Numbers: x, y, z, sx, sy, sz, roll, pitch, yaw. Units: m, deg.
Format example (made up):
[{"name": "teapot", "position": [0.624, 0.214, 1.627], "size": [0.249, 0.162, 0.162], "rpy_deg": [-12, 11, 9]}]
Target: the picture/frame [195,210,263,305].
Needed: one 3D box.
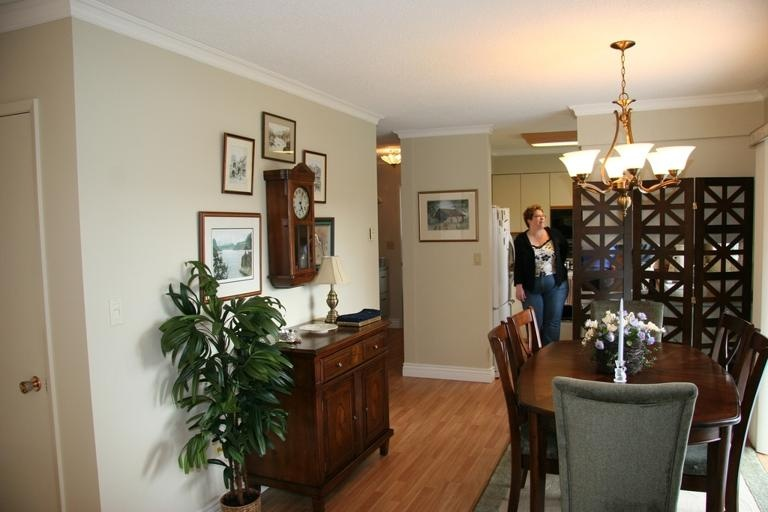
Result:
[{"name": "picture/frame", "position": [-1.182, 0.020, 4.024], "size": [0.081, 0.788, 0.714], "rpy_deg": [-2, -1, 29]}]

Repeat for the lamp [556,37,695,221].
[{"name": "lamp", "position": [1.806, -0.959, 4.042], "size": [0.795, 1.245, 0.933], "rpy_deg": [-2, 4, -31]}]

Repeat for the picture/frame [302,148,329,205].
[{"name": "picture/frame", "position": [-0.633, -0.711, 4.841], "size": [0.027, 0.677, 0.574], "rpy_deg": [-2, 0, 20]}]

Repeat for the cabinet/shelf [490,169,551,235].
[{"name": "cabinet/shelf", "position": [2.205, -0.839, 8.549], "size": [0.942, 0.943, 0.336], "rpy_deg": [1, 12, 35]}]

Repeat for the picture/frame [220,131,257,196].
[{"name": "picture/frame", "position": [-1.135, -0.696, 4.161], "size": [0.036, 0.473, 0.333], "rpy_deg": [4, 11, 33]}]

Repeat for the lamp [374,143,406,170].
[{"name": "lamp", "position": [0.095, -1.490, 7.979], "size": [0.420, 0.228, 0.419], "rpy_deg": [-17, 29, -19]}]

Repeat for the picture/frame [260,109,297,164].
[{"name": "picture/frame", "position": [-0.888, -0.982, 4.542], "size": [0.368, 0.370, 0.014], "rpy_deg": [15, 20, 28]}]

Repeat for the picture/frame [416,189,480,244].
[{"name": "picture/frame", "position": [0.789, -0.471, 6.476], "size": [0.642, 0.562, 0.044], "rpy_deg": [0, -1, 16]}]

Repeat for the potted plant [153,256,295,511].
[{"name": "potted plant", "position": [-1.053, 0.935, 3.761], "size": [0.874, 1.794, 0.705], "rpy_deg": [-6, 10, -22]}]

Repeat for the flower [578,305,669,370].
[{"name": "flower", "position": [1.538, 0.607, 3.774], "size": [0.418, 0.320, 0.411], "rpy_deg": [7, 0, -41]}]
